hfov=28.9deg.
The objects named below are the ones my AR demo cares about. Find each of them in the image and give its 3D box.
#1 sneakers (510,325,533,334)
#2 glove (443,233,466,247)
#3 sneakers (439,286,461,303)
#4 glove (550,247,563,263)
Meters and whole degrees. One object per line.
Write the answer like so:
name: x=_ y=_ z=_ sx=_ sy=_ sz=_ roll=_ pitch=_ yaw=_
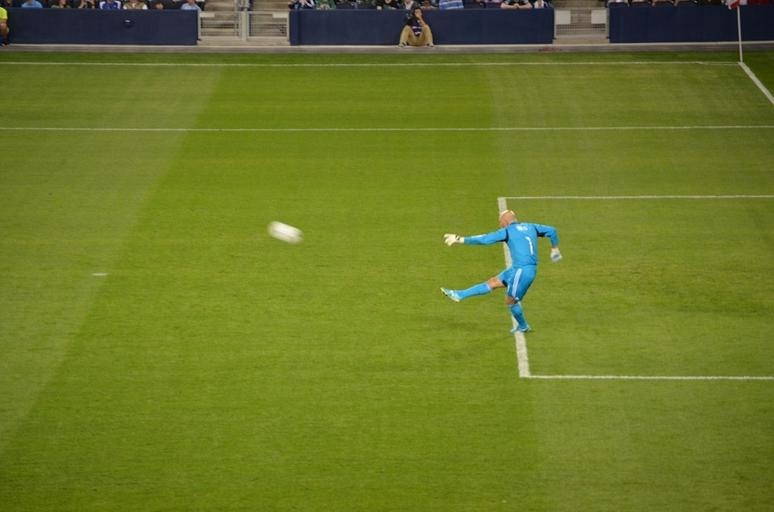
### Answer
sneakers: x=3.188 y=1.770 z=36.139 sx=0.507 sy=0.201 sz=0.166 roll=-4 pitch=55 yaw=8
glove: x=1.586 y=-0.357 z=35.340 sx=0.356 sy=0.113 sz=0.330 roll=6 pitch=8 yaw=-15
sneakers: x=1.520 y=0.940 z=35.914 sx=0.596 sy=0.256 sz=0.211 roll=32 pitch=2 yaw=-10
glove: x=3.925 y=-0.042 z=35.870 sx=0.284 sy=0.322 sz=0.361 roll=8 pitch=23 yaw=27
